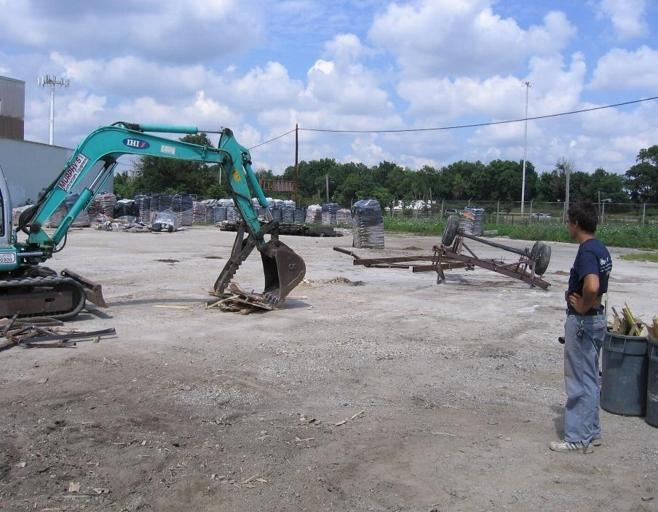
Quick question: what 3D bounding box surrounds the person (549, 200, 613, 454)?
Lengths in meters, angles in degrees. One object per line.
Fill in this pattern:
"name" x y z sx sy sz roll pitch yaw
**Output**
"person" 2.384 0.633 4.589 0.476 2.240 0.736 6 9 24
